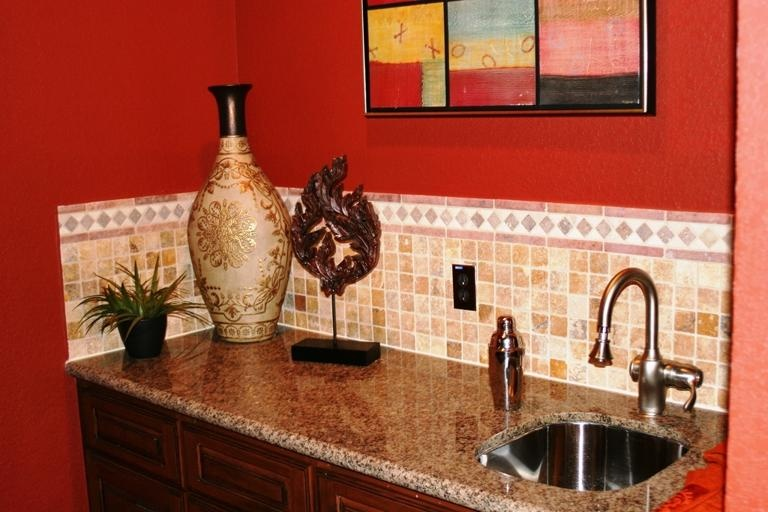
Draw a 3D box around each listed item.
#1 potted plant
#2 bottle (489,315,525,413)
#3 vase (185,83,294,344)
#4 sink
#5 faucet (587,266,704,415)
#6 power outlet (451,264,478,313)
[{"bbox_3d":[-0.871,0.216,2.341,0.357,0.268,0.346,-13,3,-10],"label":"potted plant"},{"bbox_3d":[0.359,0.304,1.881,0.105,0.256,0.094,0,11,2],"label":"bottle"},{"bbox_3d":[-0.513,-0.145,2.387,0.362,0.935,0.203,-4,11,-18],"label":"vase"},{"bbox_3d":[0.630,0.592,1.960,0.401,0.156,0.396,1,-11,-27],"label":"sink"},{"bbox_3d":[0.695,0.242,1.735,0.304,0.414,0.188,1,11,10],"label":"faucet"},{"bbox_3d":[0.275,0.104,2.191,0.090,0.150,0.022,9,14,41],"label":"power outlet"}]
